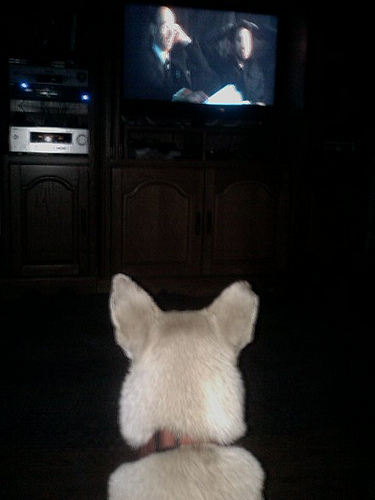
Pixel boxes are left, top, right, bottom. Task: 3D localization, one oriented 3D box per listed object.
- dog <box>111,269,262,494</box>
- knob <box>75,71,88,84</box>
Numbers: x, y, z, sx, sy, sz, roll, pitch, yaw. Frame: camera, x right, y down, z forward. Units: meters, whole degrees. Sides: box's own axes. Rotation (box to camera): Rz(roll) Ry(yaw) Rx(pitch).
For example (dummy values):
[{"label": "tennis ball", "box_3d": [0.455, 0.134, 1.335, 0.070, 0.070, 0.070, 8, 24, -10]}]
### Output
[{"label": "dog", "box_3d": [-0.003, 0.135, 0.552, 0.121, 0.270, 0.191, 0, -33, -1]}, {"label": "knob", "box_3d": [-0.605, -1.001, 2.595, 0.067, 0.070, 0.029, -1, 7, -17]}]
